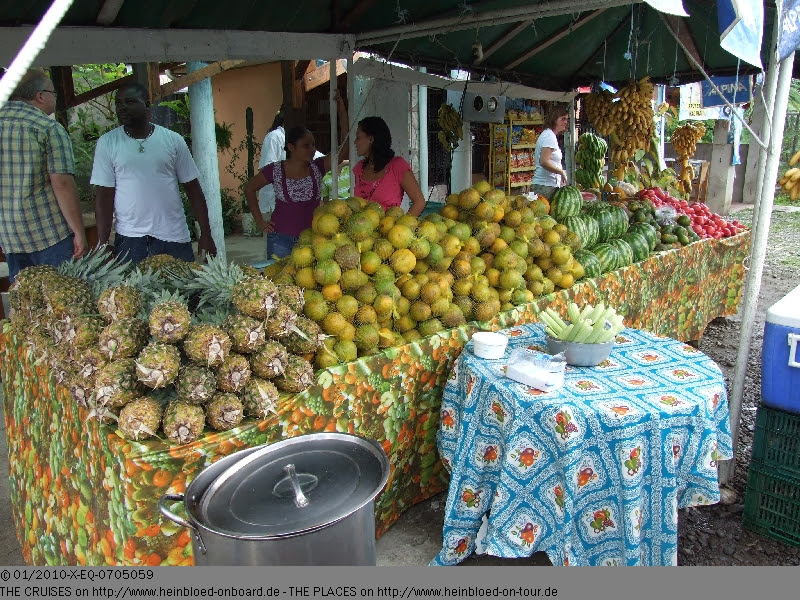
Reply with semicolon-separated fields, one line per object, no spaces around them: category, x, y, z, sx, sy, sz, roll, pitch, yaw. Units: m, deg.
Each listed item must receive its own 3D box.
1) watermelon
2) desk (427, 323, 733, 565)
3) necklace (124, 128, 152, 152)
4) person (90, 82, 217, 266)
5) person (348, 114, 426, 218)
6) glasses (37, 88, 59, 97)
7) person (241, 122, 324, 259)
watermelon;1.634;-0.530;4.776;0.899;0.348;0.840;13;16;-42
desk;0.915;0.785;3.276;1.284;1.199;1.307;5;11;5
necklace;-1.905;-1.151;4.296;0.131;0.098;0.131;-6;28;-25
person;-1.941;-0.499;4.700;0.807;2.100;0.765;-3;6;-30
person;-0.142;-1.094;4.957;0.534;0.950;0.514;-5;17;-40
glasses;-2.544;-1.508;4.313;0.074;0.058;0.405;-9;19;-23
person;-1.025;-0.954;5.324;0.722;1.379;0.665;-10;18;-40
